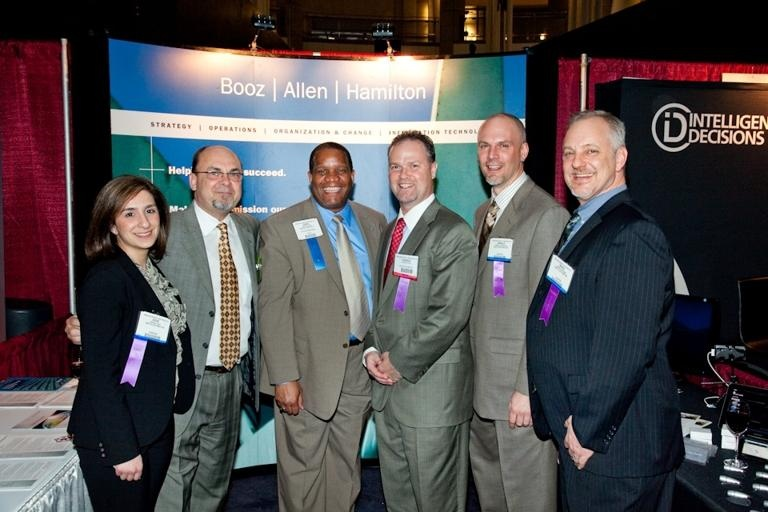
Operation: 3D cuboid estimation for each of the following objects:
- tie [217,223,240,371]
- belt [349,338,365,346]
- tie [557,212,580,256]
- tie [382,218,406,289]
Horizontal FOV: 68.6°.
[{"bbox_3d":[-1.051,0.259,3.779,0.146,0.947,0.245,-4,9,-15],"label":"tie"},{"bbox_3d":[-0.197,0.591,3.889,0.064,0.049,0.064,6,-14,15],"label":"belt"},{"bbox_3d":[1.081,-0.142,3.287,0.086,0.087,0.329,21,50,7],"label":"tie"},{"bbox_3d":[0.083,-0.076,3.761,0.086,0.646,0.074,10,-16,12],"label":"tie"}]
